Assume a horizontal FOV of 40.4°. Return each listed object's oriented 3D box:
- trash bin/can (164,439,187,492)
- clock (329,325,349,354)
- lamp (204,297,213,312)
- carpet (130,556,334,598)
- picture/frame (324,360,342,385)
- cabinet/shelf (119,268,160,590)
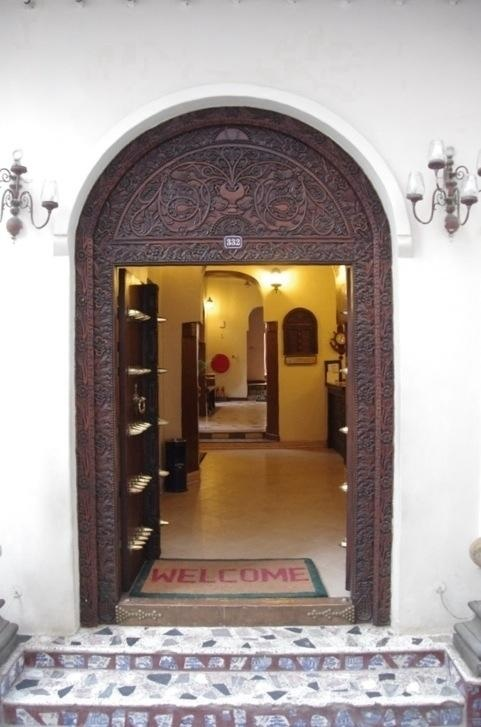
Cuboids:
[{"bbox_3d":[-0.618,0.973,6.174,0.209,0.506,0.199,0,2,-10],"label":"trash bin/can"},{"bbox_3d":[1.362,-0.319,9.025,0.131,0.434,0.435,0,2,-9],"label":"clock"},{"bbox_3d":[-0.742,-1.403,15.507,0.304,0.311,0.298,0,-3,5],"label":"lamp"},{"bbox_3d":[-0.065,1.308,4.011,1.132,0.026,0.682,0,2,0],"label":"carpet"},{"bbox_3d":[1.262,0.119,8.830,0.046,0.461,0.350,1,-1,-34],"label":"picture/frame"},{"bbox_3d":[-0.627,0.378,4.126,0.231,1.857,0.885,0,2,-6],"label":"cabinet/shelf"}]
